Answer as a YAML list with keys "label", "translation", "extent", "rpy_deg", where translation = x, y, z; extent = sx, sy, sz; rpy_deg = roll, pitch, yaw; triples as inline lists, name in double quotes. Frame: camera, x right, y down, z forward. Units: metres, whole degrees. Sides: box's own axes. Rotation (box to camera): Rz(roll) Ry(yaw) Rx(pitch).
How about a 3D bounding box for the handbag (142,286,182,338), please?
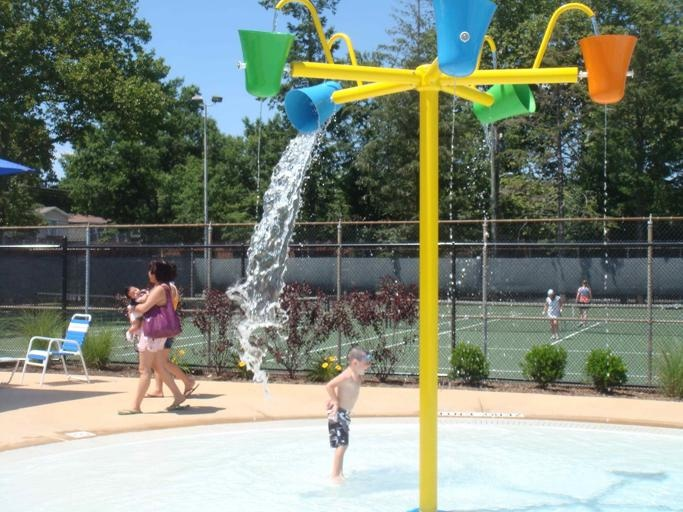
- label: "handbag"
  translation: [-3.635, 1.137, 18.128]
  extent: [0.739, 1.069, 0.337]
  rpy_deg: [1, -5, -15]

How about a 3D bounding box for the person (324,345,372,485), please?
- label: "person"
  translation: [0.118, 2.722, 15.242]
  extent: [0.708, 2.297, 0.799]
  rpy_deg: [0, -5, -1]

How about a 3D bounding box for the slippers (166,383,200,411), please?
- label: "slippers"
  translation: [-3.379, 3.021, 18.497]
  extent: [0.719, 0.345, 0.232]
  rpy_deg: [-14, -14, 42]

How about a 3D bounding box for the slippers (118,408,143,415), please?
- label: "slippers"
  translation: [-4.255, 3.131, 17.982]
  extent: [0.366, 0.178, 0.155]
  rpy_deg: [6, -5, 5]
